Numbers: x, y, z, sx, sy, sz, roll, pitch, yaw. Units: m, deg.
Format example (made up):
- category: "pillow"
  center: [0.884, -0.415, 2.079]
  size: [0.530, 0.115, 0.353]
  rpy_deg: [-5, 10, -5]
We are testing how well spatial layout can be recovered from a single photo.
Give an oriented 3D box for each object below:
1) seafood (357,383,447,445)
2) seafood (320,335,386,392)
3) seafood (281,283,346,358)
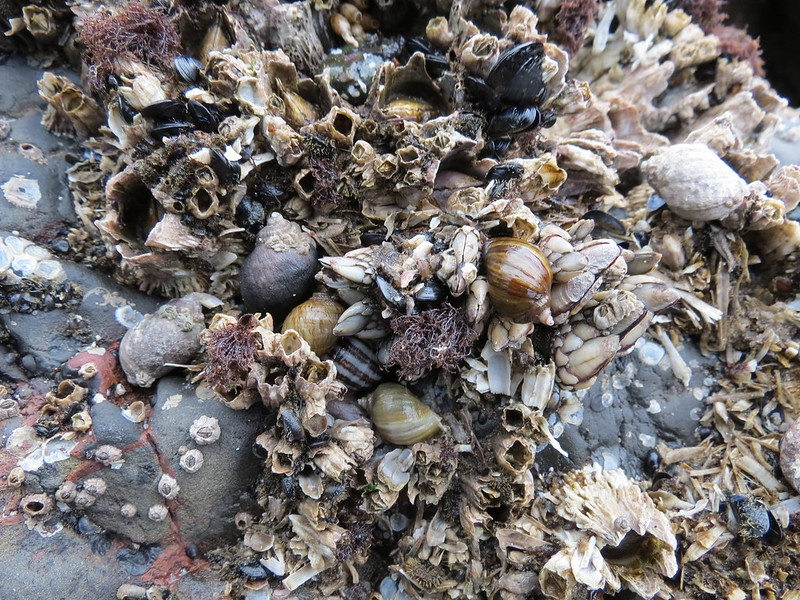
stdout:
- category: "seafood"
  center: [0.019, 0.917, 6.975]
  size: [0.652, 0.371, 0.454]
  rpy_deg: [24, 51, 18]
- category: "seafood"
  center: [-0.368, 0.546, 6.991]
  size: [0.335, 0.264, 0.442]
  rpy_deg: [-41, 103, -17]
- category: "seafood"
  center: [-0.638, 0.158, 6.861]
  size: [0.410, 0.205, 0.468]
  rpy_deg: [34, 82, 5]
